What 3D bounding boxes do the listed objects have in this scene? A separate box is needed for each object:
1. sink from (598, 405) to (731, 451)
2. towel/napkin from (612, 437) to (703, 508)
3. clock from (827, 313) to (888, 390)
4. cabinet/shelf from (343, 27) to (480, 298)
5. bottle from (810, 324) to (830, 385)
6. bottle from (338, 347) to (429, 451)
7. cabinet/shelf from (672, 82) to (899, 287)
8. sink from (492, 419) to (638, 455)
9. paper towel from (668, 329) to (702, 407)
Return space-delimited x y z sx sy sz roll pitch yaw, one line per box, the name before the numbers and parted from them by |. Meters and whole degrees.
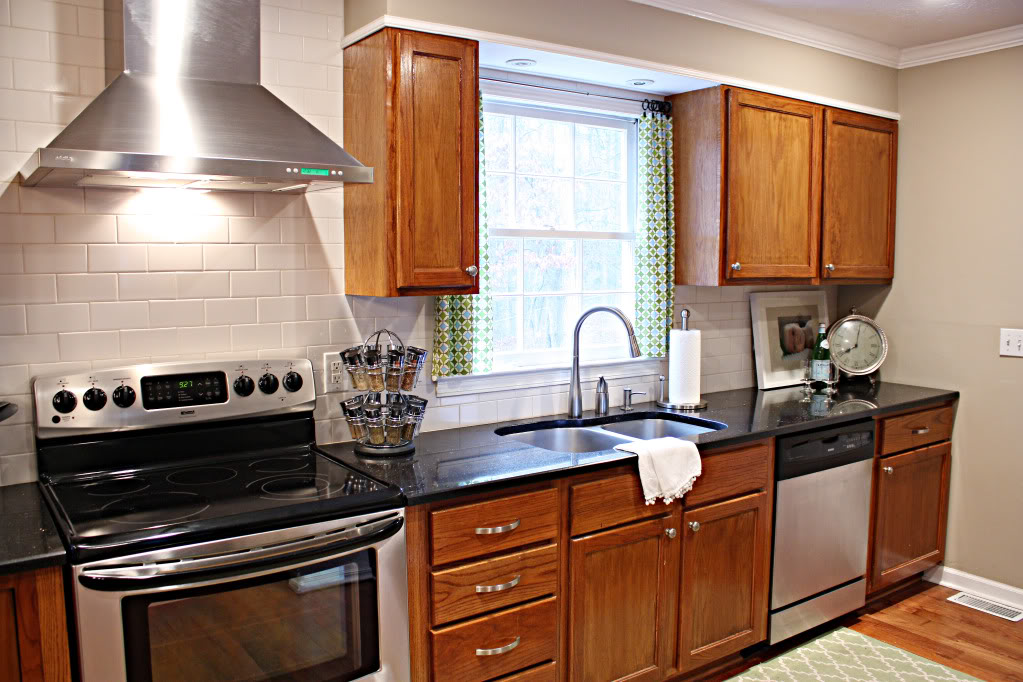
sink | 0.770 0.405 3.400 0.256 0.103 0.309 -6 7 -33
towel/napkin | 0.620 0.544 2.953 0.377 0.211 0.212 -2 2 -42
clock | 2.112 0.023 4.235 0.235 0.427 0.367 -8 9 -36
cabinet/shelf | -0.425 -0.700 2.823 0.643 1.040 0.306 -5 6 -1
bottle | 1.818 0.084 4.164 0.117 0.338 0.259 -2 6 23
bottle | -0.443 0.213 2.989 0.432 0.463 0.403 1 8 4
cabinet/shelf | 1.579 -0.828 4.084 1.678 0.957 0.528 -5 9 -34
sink | 0.219 0.459 3.279 0.352 0.112 0.265 -1 6 -40
paper towel | 0.864 0.139 3.543 0.155 0.385 0.083 -4 6 10
